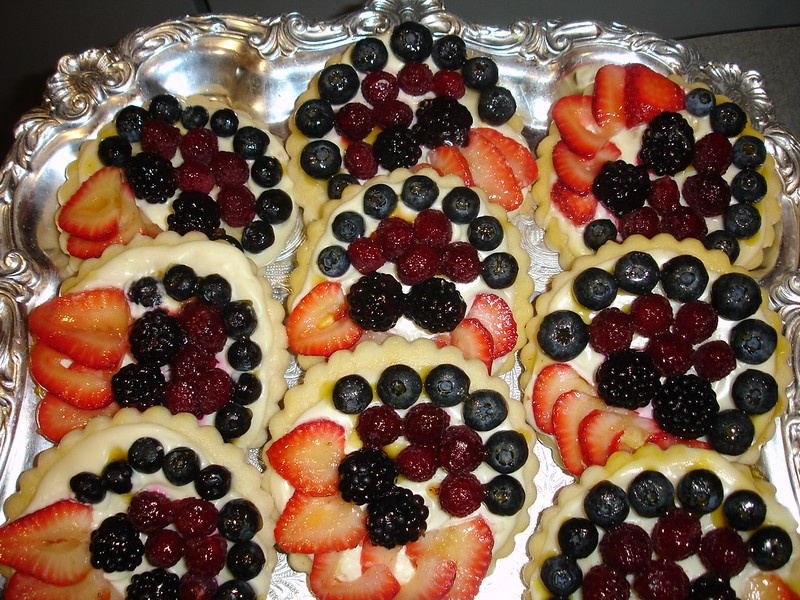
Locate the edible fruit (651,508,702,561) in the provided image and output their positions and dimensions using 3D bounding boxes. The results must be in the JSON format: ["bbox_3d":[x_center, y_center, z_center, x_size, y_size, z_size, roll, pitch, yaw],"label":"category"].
[{"bbox_3d":[1.482,1.247,4.481,0.269,0.173,0.242,-24,79,-9],"label":"edible fruit"}]

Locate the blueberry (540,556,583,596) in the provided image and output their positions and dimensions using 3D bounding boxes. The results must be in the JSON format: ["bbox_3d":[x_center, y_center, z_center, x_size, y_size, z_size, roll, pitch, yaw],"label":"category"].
[{"bbox_3d":[0.871,1.467,4.508,0.201,0.075,0.208,-32,80,-11],"label":"blueberry"}]

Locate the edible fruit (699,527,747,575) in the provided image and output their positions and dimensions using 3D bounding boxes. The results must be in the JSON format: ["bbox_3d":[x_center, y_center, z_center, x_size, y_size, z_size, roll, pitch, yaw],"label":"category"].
[{"bbox_3d":[1.729,1.347,4.495,0.221,0.086,0.243,-26,79,-10],"label":"edible fruit"}]

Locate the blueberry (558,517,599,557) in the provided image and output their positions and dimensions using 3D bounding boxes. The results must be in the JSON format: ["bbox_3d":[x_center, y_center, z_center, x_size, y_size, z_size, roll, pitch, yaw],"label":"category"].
[{"bbox_3d":[0.969,1.274,4.523,0.213,0.091,0.204,-12,77,-7],"label":"blueberry"}]

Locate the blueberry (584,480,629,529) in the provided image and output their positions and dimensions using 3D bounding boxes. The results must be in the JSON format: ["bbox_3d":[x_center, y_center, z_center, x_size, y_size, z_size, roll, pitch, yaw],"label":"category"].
[{"bbox_3d":[1.121,1.101,4.520,0.236,0.110,0.225,30,76,4],"label":"blueberry"}]

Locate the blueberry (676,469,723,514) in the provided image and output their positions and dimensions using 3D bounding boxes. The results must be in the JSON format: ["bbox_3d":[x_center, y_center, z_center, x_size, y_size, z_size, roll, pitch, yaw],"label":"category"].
[{"bbox_3d":[1.648,1.075,4.600,0.286,0.294,0.163,11,70,-19],"label":"blueberry"}]

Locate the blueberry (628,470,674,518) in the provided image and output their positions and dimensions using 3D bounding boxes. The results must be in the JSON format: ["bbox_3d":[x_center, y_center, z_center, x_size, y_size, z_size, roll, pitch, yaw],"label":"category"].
[{"bbox_3d":[1.350,1.042,4.509,0.231,0.096,0.242,-26,79,-10],"label":"blueberry"}]
